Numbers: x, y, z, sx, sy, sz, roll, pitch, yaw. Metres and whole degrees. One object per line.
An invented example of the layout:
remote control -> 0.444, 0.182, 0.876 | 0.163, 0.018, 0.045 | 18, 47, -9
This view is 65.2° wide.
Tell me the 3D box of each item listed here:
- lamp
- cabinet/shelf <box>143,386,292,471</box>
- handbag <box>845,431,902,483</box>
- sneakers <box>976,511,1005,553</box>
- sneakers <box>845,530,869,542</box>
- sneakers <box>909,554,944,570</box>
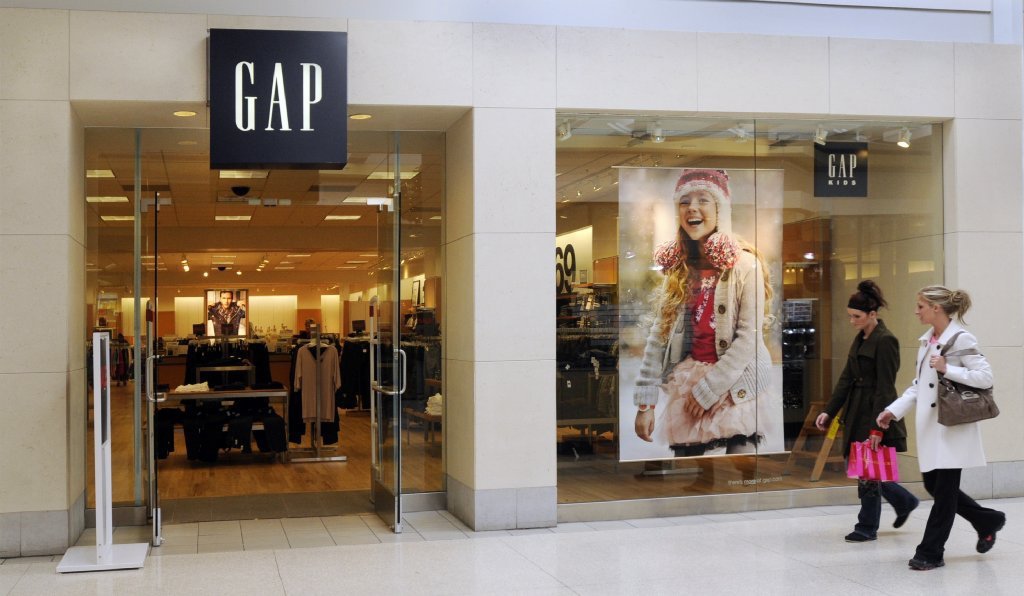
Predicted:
lamp -> 2.439, -1.873, 8.901 | 2.922, 0.425, 0.132 | -3, 21, -11
cabinet/shelf -> -4.281, 1.837, 11.982 | 1.941, 0.859, 1.537 | -1, 7, -11
handbag -> 3.479, 1.517, 7.732 | 0.563, 0.545, 0.225 | 2, 4, 8
sneakers -> 4.458, 2.184, 7.499 | 0.197, 0.394, 0.139 | 7, 24, 2
sneakers -> 3.408, 2.350, 7.911 | 0.203, 0.061, 0.095 | 1, -3, -17
sneakers -> 3.780, 2.385, 7.296 | 0.329, 0.126, 0.114 | -5, 2, -17
